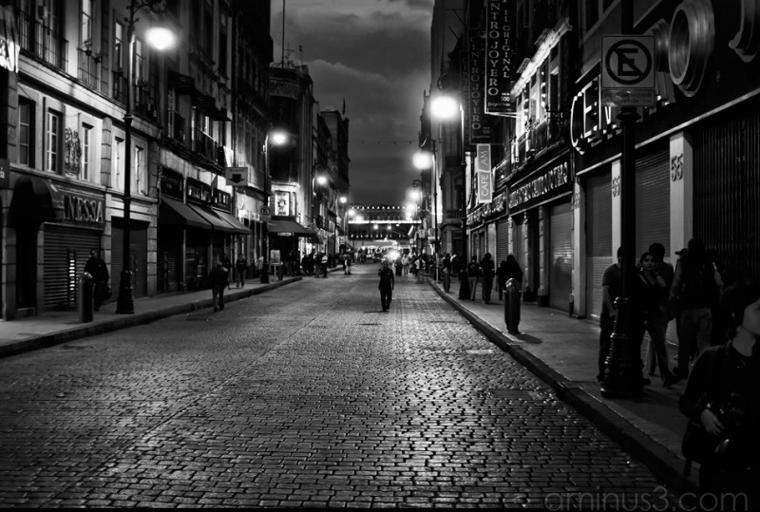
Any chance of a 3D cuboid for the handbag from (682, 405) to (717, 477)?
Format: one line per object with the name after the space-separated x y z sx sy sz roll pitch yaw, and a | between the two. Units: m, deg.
3.541 2.110 8.483 0.379 0.609 0.168 19 7 28 | handbag
